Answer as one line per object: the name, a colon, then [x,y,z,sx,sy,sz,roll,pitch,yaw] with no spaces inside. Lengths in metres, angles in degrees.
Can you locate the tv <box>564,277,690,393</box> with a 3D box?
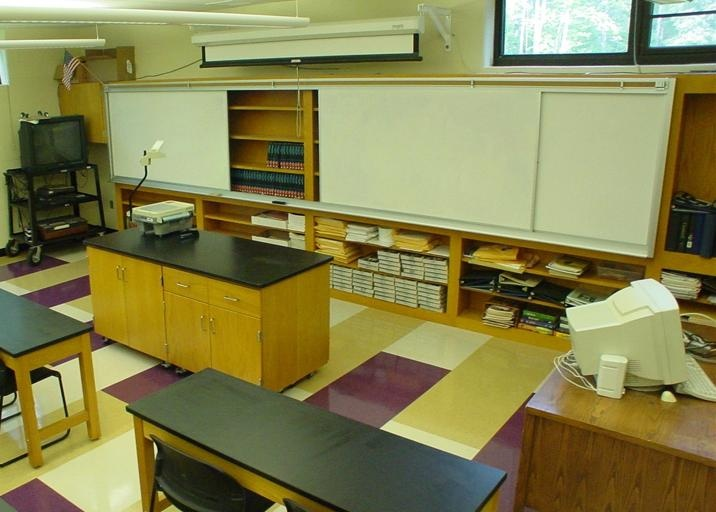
tv: [1.638,0.451,3.303,0.655,0.509,0.618,2,19,40]

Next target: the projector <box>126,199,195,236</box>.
projector: [-1.957,-0.376,5.511,0.430,0.206,0.443,12,20,26]

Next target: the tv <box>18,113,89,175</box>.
tv: [-4.262,-1.547,7.618,0.483,0.650,0.839,15,23,33]

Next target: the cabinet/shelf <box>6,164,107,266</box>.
cabinet/shelf: [-4.339,-0.569,7.751,0.650,1.120,1.284,24,31,35]
